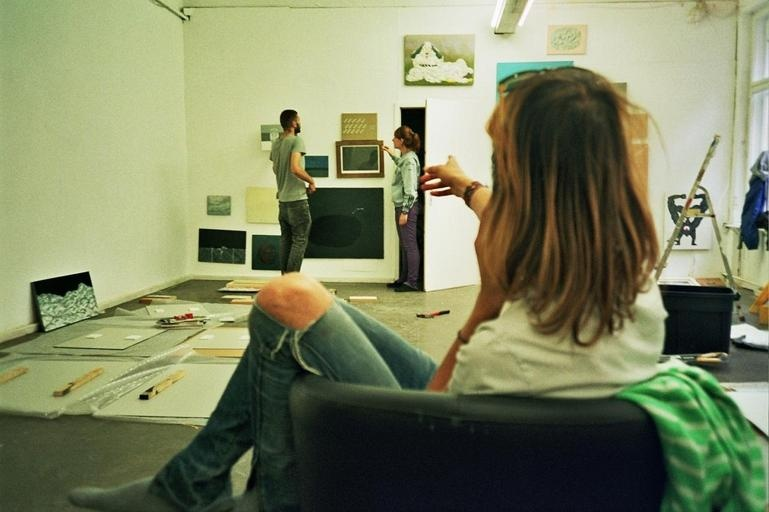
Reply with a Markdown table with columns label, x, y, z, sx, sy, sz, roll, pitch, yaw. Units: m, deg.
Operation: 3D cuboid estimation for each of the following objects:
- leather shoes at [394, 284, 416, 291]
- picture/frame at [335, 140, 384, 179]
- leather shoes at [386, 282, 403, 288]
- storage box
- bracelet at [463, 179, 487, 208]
| label | x | y | z | sx | sy | sz | roll | pitch | yaw |
| --- | --- | --- | --- | --- | --- | --- | --- | --- | --- |
| leather shoes | 0.222 | 0.340 | 7.375 | 0.225 | 0.080 | 0.081 | 3 | 2 | 3 |
| picture/frame | -0.274 | -1.144 | 7.898 | 0.515 | 0.377 | 0.036 | 0 | 6 | 2 |
| leather shoes | 0.115 | 0.325 | 7.657 | 0.175 | 0.062 | 0.061 | 1 | -1 | 17 |
| storage box | 2.184 | 0.435 | 4.975 | 0.669 | 0.546 | 0.921 | 0 | 3 | 15 |
| bracelet | 0.370 | -0.268 | 2.843 | 0.103 | 0.100 | 0.039 | -5 | -21 | 21 |
